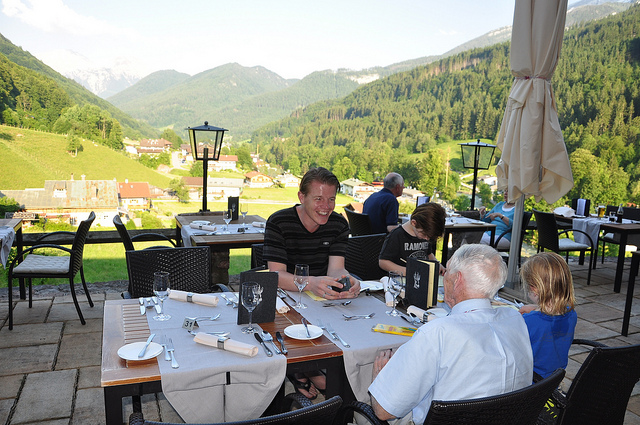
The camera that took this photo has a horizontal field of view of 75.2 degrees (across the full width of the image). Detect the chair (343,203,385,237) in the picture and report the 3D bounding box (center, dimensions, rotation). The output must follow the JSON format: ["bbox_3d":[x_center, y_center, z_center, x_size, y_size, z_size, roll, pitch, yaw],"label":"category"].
[{"bbox_3d":[0.624,0.103,5.559,0.416,0.599,0.335,-8,13,-18],"label":"chair"}]

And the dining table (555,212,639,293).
[{"bbox_3d":[3.826,0.522,5.715,0.518,0.508,1.006,-4,11,-13],"label":"dining table"}]

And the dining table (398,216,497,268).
[{"bbox_3d":[2.058,0.280,5.834,0.918,0.891,0.913,1,0,12],"label":"dining table"}]

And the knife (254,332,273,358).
[{"bbox_3d":[-0.289,0.706,2.180,0.040,0.025,0.287,-8,10,-15],"label":"knife"}]

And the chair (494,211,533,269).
[{"bbox_3d":[2.827,0.459,6.246,0.618,0.806,0.533,-2,1,12],"label":"chair"}]

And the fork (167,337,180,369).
[{"bbox_3d":[-0.741,0.714,2.089,0.040,0.023,0.292,2,22,-15],"label":"fork"}]

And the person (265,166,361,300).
[{"bbox_3d":[-0.043,0.121,3.025,0.648,0.945,0.914,3,0,-30],"label":"person"}]

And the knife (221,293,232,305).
[{"bbox_3d":[-0.619,0.562,2.729,0.032,0.010,0.148,-6,14,-17],"label":"knife"}]

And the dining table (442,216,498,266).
[{"bbox_3d":[1.674,0.264,4.616,0.646,0.605,0.627,-1,10,-3],"label":"dining table"}]

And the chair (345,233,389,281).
[{"bbox_3d":[0.408,0.415,4.017,0.364,0.638,0.440,-1,7,-11],"label":"chair"}]

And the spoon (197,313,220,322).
[{"bbox_3d":[-0.662,0.622,2.467,0.142,0.025,0.024,-9,15,-4],"label":"spoon"}]

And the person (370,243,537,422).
[{"bbox_3d":[0.663,0.621,2.109,0.664,0.912,0.480,-7,41,-19],"label":"person"}]

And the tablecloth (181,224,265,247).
[{"bbox_3d":[-1.161,0.191,4.885,0.857,0.269,0.862,3,4,-19],"label":"tablecloth"}]

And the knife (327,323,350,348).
[{"bbox_3d":[0.099,0.687,2.316,0.040,0.033,0.283,-5,13,-12],"label":"knife"}]

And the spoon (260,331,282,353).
[{"bbox_3d":[-0.273,0.685,2.252,0.045,0.035,0.255,-22,10,-11],"label":"spoon"}]

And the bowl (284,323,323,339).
[{"bbox_3d":[-0.089,0.657,2.339,0.207,0.047,0.184,2,11,3],"label":"bowl"}]

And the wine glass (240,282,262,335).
[{"bbox_3d":[-0.387,0.532,2.331,0.127,0.265,0.140,-1,13,-10],"label":"wine glass"}]

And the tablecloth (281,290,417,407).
[{"bbox_3d":[0.074,0.714,2.729,1.108,0.552,0.660,3,14,-15],"label":"tablecloth"}]
